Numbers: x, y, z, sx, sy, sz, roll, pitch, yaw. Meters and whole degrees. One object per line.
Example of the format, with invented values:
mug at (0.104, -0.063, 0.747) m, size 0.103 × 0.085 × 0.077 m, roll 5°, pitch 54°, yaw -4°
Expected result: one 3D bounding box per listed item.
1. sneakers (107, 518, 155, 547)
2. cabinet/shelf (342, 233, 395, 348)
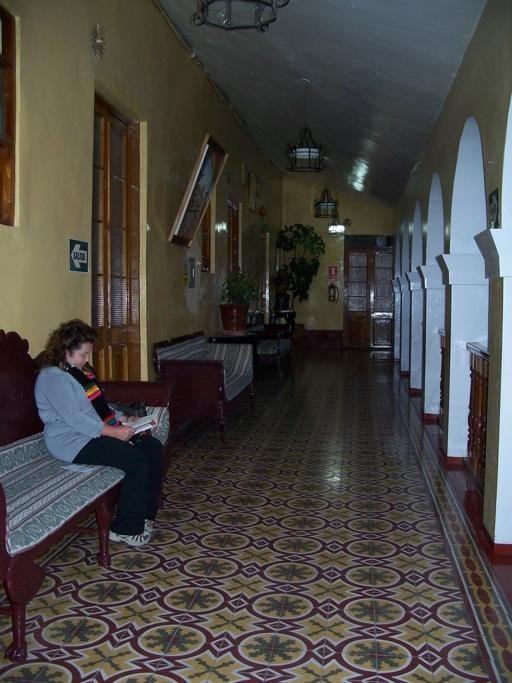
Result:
sneakers at (-0.735, 1.150, 2.831) m, size 0.271 × 0.157 × 0.116 m, roll 2°, pitch 10°, yaw 2°
cabinet/shelf at (3.858, -1.730, 16.291) m, size 1.678 × 3.804 × 0.752 m, roll -1°, pitch -4°, yaw 9°
